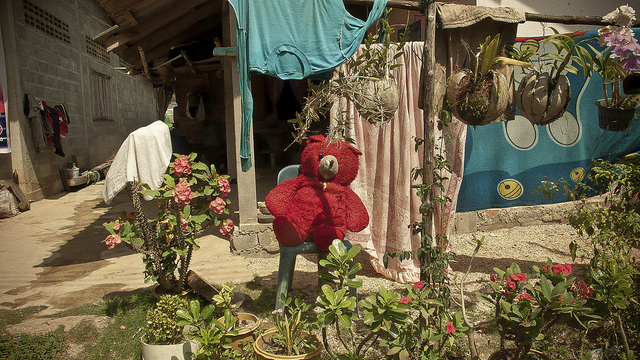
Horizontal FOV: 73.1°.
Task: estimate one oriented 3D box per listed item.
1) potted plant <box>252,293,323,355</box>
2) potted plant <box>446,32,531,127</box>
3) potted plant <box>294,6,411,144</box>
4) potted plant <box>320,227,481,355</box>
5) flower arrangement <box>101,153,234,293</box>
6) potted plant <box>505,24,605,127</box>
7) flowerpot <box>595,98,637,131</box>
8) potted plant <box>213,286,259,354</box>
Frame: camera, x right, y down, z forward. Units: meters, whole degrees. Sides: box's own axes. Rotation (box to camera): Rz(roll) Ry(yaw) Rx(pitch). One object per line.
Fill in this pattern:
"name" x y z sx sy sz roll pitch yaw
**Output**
"potted plant" -0.343 1.673 5.147 0.740 0.677 0.747 7 6 44
"potted plant" 2.046 -1.233 5.363 0.796 1.080 0.893 -17 24 -34
"potted plant" 0.628 -1.550 6.020 1.188 1.544 2.280 -1 8 11
"potted plant" 0.903 1.380 5.258 1.812 1.519 1.170 -2 8 -1
"flower arrangement" -1.969 0.584 6.106 1.392 2.071 1.723 2 0 -21
"potted plant" 2.919 -1.274 5.423 1.113 1.087 0.781 5 12 2
"flowerpot" 3.669 -0.835 5.417 0.436 0.250 0.420 -6 13 -23
"potted plant" -1.013 1.681 5.207 0.545 0.751 0.452 -4 8 -15
